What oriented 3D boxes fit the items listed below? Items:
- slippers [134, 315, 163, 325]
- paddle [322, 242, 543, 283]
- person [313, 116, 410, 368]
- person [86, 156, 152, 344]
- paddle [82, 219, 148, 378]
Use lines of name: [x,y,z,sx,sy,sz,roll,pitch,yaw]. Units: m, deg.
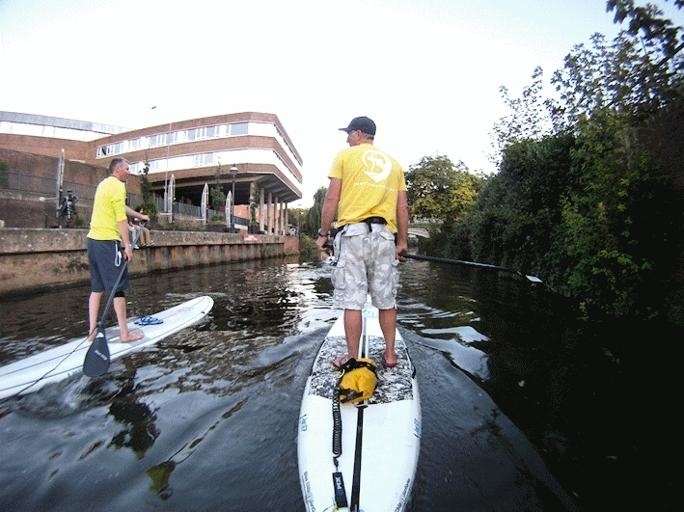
slippers: [-3.049,1.007,6.050,0.165,0.065,0.272,6,-1,17]
paddle: [2.828,0.213,9.616,5.085,0.807,0.716,8,5,16]
person: [0.293,-0.018,4.171,0.976,2.433,0.479,0,0,-24]
person: [-3.169,-0.072,5.428,0.722,2.583,0.822,-4,-4,25]
paddle: [-3.060,0.386,5.118,0.256,2.556,0.164,6,-42,-24]
